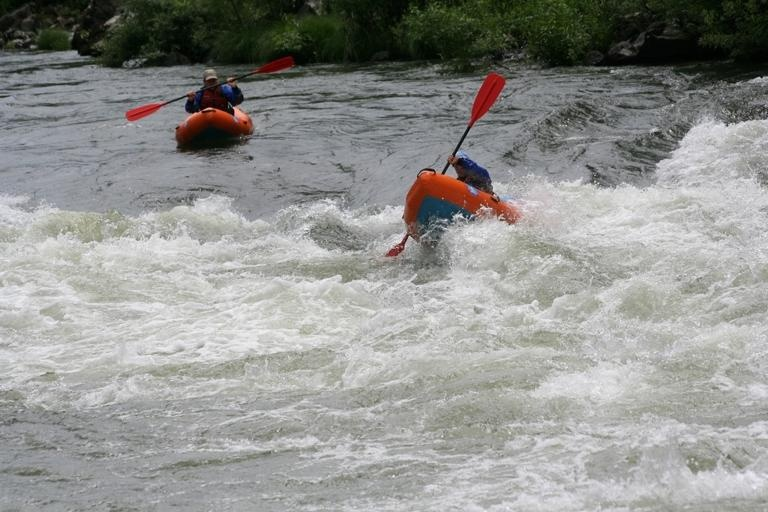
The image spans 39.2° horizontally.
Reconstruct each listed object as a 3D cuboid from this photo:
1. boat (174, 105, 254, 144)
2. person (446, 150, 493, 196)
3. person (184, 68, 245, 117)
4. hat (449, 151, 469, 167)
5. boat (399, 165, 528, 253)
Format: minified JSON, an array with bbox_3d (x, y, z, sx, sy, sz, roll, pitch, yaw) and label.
[{"bbox_3d":[-3.304,-2.324,20.498,1.322,1.936,0.444,-8,87,-9],"label":"boat"},{"bbox_3d":[1.405,-1.191,16.144,0.353,0.339,1.057,-55,44,9],"label":"person"},{"bbox_3d":[-3.260,-3.134,20.531,0.977,0.939,0.377,-14,38,-9],"label":"person"},{"bbox_3d":[1.076,-1.454,16.115,0.297,0.106,0.314,-8,15,-20],"label":"hat"},{"bbox_3d":[1.304,-0.633,16.377,1.486,2.654,0.679,4,81,37],"label":"boat"}]
